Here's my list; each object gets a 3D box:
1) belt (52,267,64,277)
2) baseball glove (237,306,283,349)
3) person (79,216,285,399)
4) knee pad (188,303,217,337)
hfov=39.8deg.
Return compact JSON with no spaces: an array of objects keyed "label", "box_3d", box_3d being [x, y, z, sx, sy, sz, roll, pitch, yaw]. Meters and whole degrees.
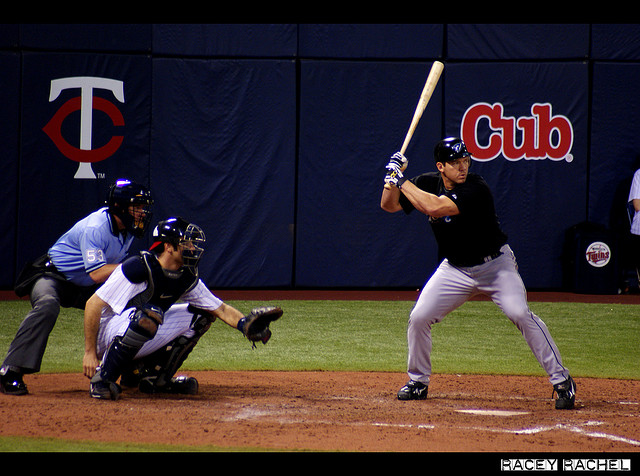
[{"label":"belt","box_3d":[-2.371,0.309,7.995,0.071,0.028,0.080,32,-4,2]},{"label":"baseball glove","box_3d":[-0.566,0.781,7.881,0.251,0.241,0.493,32,-30,-16]},{"label":"person","box_3d":[-1.250,0.654,7.847,1.706,1.386,1.173,4,-9,-12]},{"label":"knee pad","box_3d":[-1.050,0.730,7.902,0.222,0.295,0.120,32,-5,47]}]
